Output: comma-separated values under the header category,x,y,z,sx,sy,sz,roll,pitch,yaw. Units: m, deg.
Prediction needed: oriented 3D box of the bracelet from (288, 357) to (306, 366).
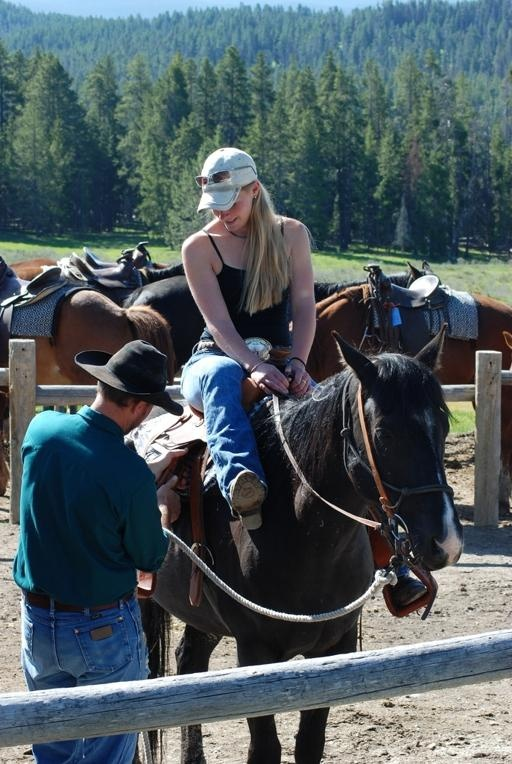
category,x,y,z,sx,sy,sz,roll,pitch,yaw
bracelet,0.154,-0.080,4.563,0.044,0.042,0.010,15,-35,-6

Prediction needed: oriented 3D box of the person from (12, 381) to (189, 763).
category,x,y,z,sx,sy,sz,roll,pitch,yaw
person,-0.550,0.645,3.849,0.535,1.241,0.491,-5,13,-6

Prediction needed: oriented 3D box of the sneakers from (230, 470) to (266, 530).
category,x,y,z,sx,sy,sz,roll,pitch,yaw
sneakers,-0.030,0.404,3.997,0.091,0.238,0.106,-5,36,-3
